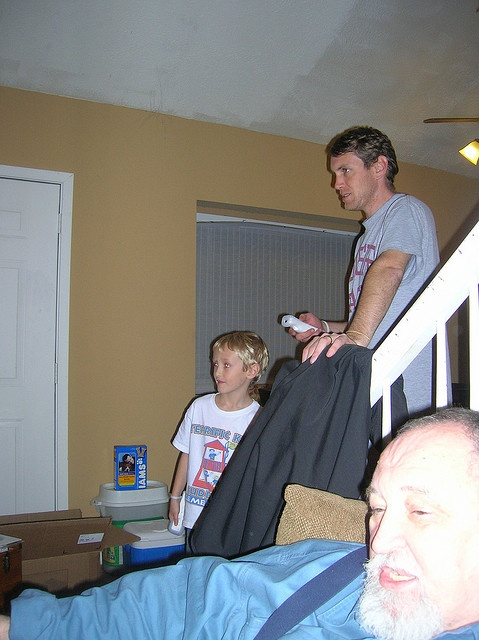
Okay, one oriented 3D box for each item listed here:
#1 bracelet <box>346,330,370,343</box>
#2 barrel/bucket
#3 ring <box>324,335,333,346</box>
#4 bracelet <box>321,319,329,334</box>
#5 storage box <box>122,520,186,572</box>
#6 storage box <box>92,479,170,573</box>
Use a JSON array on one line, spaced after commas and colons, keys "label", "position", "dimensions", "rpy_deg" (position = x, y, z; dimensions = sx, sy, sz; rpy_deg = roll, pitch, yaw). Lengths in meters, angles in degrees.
[{"label": "bracelet", "position": [0.282, 0.034, 1.307], "dimensions": [0.036, 0.009, 0.037], "rpy_deg": [17, 4, 4]}, {"label": "barrel/bucket", "position": [-0.526, 1.011, 2.794], "dimensions": [0.424, 0.334, 0.258], "rpy_deg": [5, -15, -33]}, {"label": "ring", "position": [0.197, 0.042, 1.245], "dimensions": [0.018, 0.022, 0.025], "rpy_deg": [4, 1, 4]}, {"label": "bracelet", "position": [0.284, 0.021, 1.867], "dimensions": [0.012, 0.032, 0.024], "rpy_deg": [-8, 14, 16]}, {"label": "storage box", "position": [-0.388, 0.983, 2.500], "dimensions": [0.249, 0.166, 0.236], "rpy_deg": [5, 3, -16]}, {"label": "storage box", "position": [-0.539, 0.996, 2.795], "dimensions": [0.403, 0.321, 0.239], "rpy_deg": [5, -8, -32]}]
